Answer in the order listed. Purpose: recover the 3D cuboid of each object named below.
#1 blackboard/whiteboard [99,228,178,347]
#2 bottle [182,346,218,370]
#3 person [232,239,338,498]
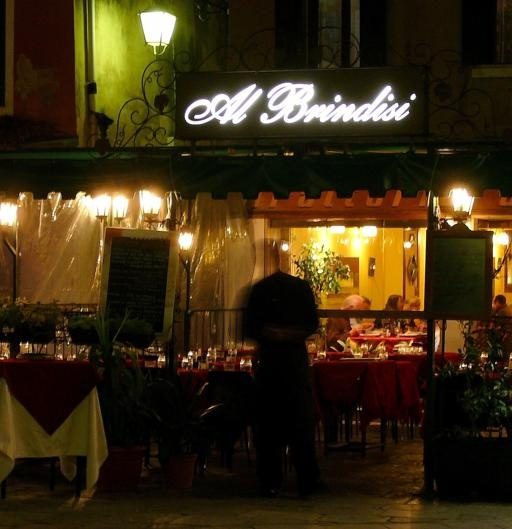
[{"bbox_3d":[-0.986,0.197,7.680,0.680,1.260,0.082,3,-5,-1],"label":"blackboard/whiteboard"},{"bbox_3d":[-0.580,0.981,9.552,0.263,0.166,0.397,0,-4,-1],"label":"bottle"},{"bbox_3d":[0.184,0.881,6.847,0.555,1.659,0.260,0,-6,2],"label":"person"}]
